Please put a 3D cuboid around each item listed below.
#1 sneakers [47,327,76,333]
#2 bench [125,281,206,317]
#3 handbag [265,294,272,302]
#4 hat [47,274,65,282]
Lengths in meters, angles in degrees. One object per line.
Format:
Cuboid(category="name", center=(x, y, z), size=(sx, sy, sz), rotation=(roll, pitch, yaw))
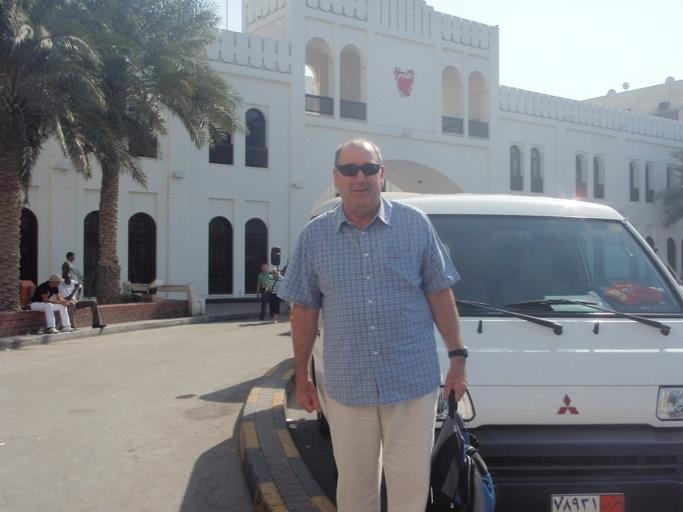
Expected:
Cuboid(category="sneakers", center=(-6.202, 1.638, 16.947), size=(0.508, 0.190, 0.183), rotation=(-1, -3, -13))
Cuboid(category="bench", center=(-5.388, 1.159, 23.155), size=(2.152, 0.863, 3.240), rotation=(0, 4, -18))
Cuboid(category="handbag", center=(-2.031, 1.138, 21.371), size=(0.161, 0.190, 0.329), rotation=(-1, 20, 3))
Cuboid(category="hat", center=(-6.342, 0.493, 17.020), size=(0.330, 0.149, 0.331), rotation=(0, -4, -17))
